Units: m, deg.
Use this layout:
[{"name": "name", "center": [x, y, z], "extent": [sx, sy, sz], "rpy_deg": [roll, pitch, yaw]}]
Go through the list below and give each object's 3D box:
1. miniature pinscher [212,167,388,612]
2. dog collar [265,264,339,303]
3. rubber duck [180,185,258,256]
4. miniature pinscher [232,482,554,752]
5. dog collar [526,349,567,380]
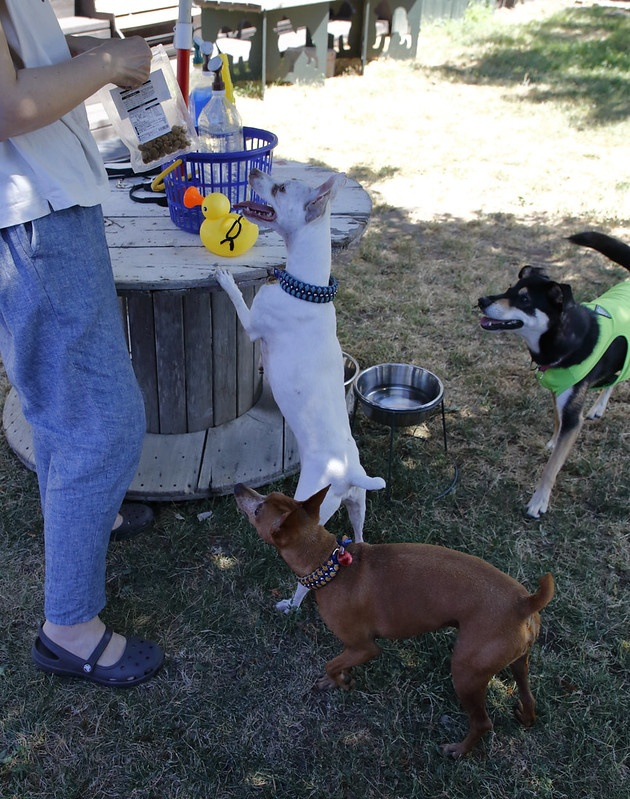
[{"name": "miniature pinscher", "center": [0.020, -0.001, 2.368], "extent": [0.493, 1.001, 1.431], "rpy_deg": [-6, 68, -14]}, {"name": "dog collar", "center": [-0.050, -0.374, 2.242], "extent": [0.194, 0.077, 0.187], "rpy_deg": [16, 23, 21]}, {"name": "rubber duck", "center": [-0.325, -0.628, 2.465], "extent": [0.263, 0.246, 0.173], "rpy_deg": [3, 42, -3]}, {"name": "miniature pinscher", "center": [0.216, 0.711, 2.177], "extent": [1.145, 0.716, 0.321], "rpy_deg": [11, 39, 26]}, {"name": "dog collar", "center": [1.041, -0.156, 3.097], "extent": [0.139, 0.255, 0.069], "rpy_deg": [-10, 60, 49]}]
